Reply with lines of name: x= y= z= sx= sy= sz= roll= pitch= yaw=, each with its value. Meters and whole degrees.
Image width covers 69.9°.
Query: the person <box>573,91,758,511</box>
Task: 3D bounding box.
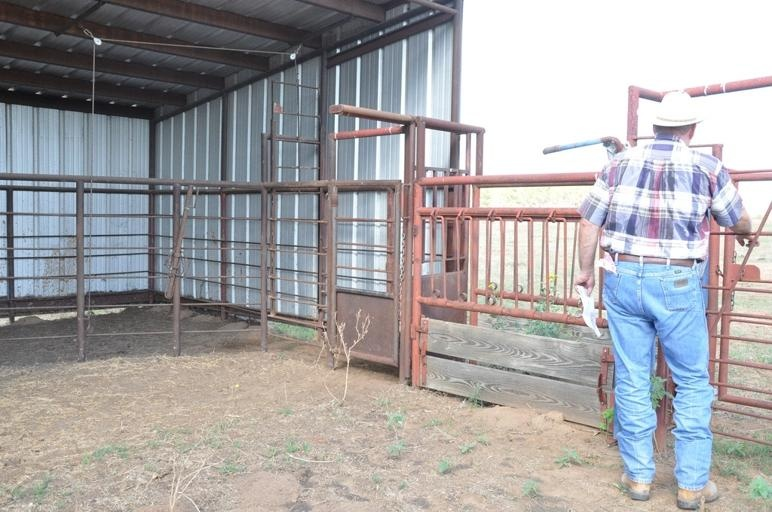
person: x=2.129 y=0.331 z=4.380 sx=1.140 sy=3.195 sz=0.646 roll=4 pitch=11 yaw=27
